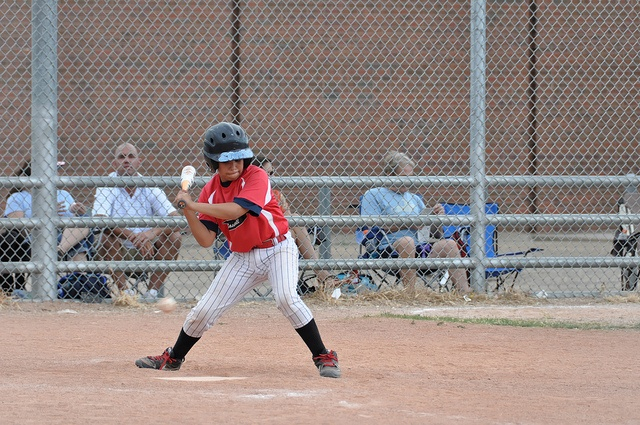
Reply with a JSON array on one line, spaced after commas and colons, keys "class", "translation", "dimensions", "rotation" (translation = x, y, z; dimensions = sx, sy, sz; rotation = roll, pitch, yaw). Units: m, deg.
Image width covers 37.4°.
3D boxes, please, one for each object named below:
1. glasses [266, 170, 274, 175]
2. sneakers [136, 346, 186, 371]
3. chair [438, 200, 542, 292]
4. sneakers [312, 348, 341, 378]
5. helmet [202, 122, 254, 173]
[{"class": "glasses", "translation": [-0.558, -0.453, 10.514], "dimensions": [0.018, 0.042, 0.042], "rotation": [30, 6, -29]}, {"class": "sneakers", "translation": [-1.382, 1.264, 8.218], "dimensions": [0.428, 0.206, 0.168], "rotation": [9, -8, 1]}, {"class": "chair", "translation": [1.768, 0.353, 10.635], "dimensions": [1.100, 1.318, 1.036], "rotation": [0, -2, -20]}, {"class": "sneakers", "translation": [0.052, 1.268, 8.000], "dimensions": [0.235, 0.194, 0.211], "rotation": [0, 14, 1]}, {"class": "helmet", "translation": [-0.801, -0.571, 8.028], "dimensions": [0.340, 0.344, 0.436], "rotation": [-7, 19, -19]}]
